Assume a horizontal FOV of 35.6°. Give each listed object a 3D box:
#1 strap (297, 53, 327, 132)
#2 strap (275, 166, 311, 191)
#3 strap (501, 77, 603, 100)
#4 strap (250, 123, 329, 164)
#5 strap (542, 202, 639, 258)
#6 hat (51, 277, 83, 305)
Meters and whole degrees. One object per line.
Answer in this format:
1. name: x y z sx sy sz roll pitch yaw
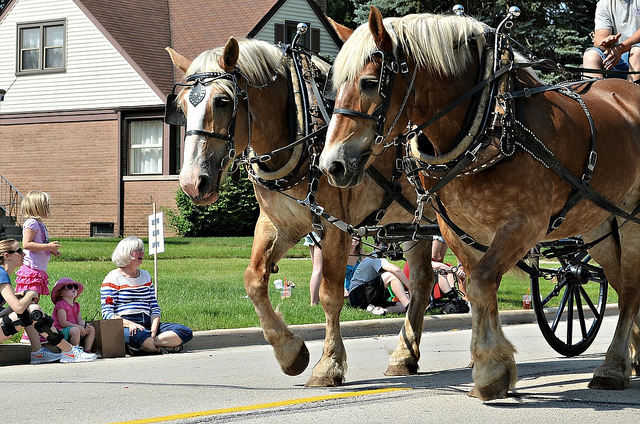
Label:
1. strap: -0.114 -1.436 12.401 0.245 1.231 0.209 -11 -19 -1
2. strap: -0.314 -0.377 12.062 0.395 0.261 0.073 -1 2 -4
3. strap: 2.663 -1.397 11.446 1.411 0.060 0.191 -15 -19 -37
4. strap: -0.359 -0.809 12.045 0.996 0.132 0.148 -25 -31 -18
5. strap: 3.263 0.211 11.889 1.137 0.121 0.173 -31 -49 21
6. hat: -3.702 1.168 14.615 0.438 0.374 0.339 -1 2 -15
